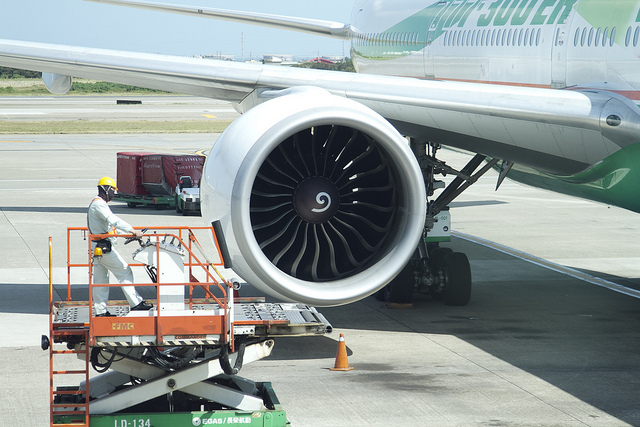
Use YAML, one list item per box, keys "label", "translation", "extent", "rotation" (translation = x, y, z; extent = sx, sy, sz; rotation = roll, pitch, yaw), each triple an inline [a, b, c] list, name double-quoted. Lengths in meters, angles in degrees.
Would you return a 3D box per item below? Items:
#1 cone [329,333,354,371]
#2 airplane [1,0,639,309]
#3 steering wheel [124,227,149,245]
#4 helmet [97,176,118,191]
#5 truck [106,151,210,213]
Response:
- label: "cone"
  translation: [0.358, 2.424, 12.172]
  extent: [0.429, 0.676, 0.337]
  rotation: [-3, 4, -13]
- label: "airplane"
  translation: [0.575, -1.950, 14.820]
  extent: [13.758, 3.351, 10.371]
  rotation: [1, 9, -18]
- label: "steering wheel"
  translation: [-2.935, 0.335, 10.903]
  extent: [0.338, 0.251, 0.730]
  rotation: [-2, 3, -12]
- label: "helmet"
  translation: [-3.580, -0.516, 11.521]
  extent: [0.239, 0.194, 0.345]
  rotation: [-2, 3, 0]
- label: "truck"
  translation: [-5.730, -1.283, 26.990]
  extent: [5.525, 1.765, 3.565]
  rotation: [1, 1, 43]
